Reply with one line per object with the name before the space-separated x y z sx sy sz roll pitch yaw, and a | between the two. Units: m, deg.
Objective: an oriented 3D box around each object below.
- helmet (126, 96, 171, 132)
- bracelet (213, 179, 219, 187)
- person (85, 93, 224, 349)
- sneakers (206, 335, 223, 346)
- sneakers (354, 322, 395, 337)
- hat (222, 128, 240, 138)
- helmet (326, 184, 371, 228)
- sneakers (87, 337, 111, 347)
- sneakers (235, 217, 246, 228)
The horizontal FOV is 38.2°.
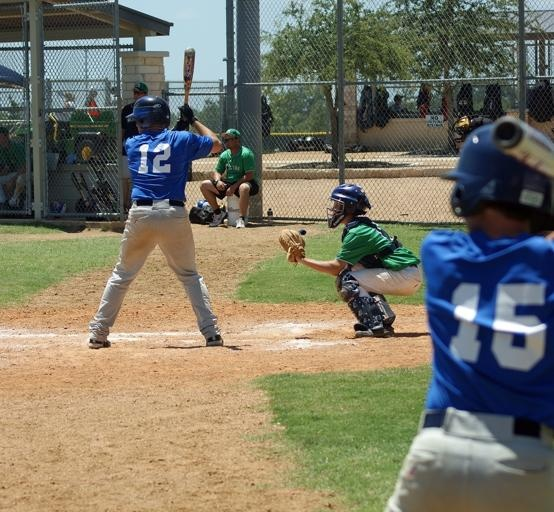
helmet | -0.992 -1.145 6.395 0.373 0.228 0.244 9 17 15
bracelet | -0.979 -1.144 12.481 0.103 0.073 0.102 21 -26 -7
person | -0.976 -0.259 6.532 1.131 2.086 0.916 -4 9 -3
sneakers | -0.515 0.690 6.523 0.105 0.095 0.119 -10 -8 1
sneakers | 0.780 0.605 6.620 0.373 0.110 0.116 3 -1 2
hat | -0.708 -1.890 12.286 0.262 0.102 0.173 2 4 -37
helmet | 0.624 -0.404 6.566 0.461 0.349 0.322 5 6 8
sneakers | -1.462 0.698 6.503 0.075 0.070 0.181 4 4 14
sneakers | -0.590 -0.538 12.684 0.209 0.167 0.452 -2 3 -1
